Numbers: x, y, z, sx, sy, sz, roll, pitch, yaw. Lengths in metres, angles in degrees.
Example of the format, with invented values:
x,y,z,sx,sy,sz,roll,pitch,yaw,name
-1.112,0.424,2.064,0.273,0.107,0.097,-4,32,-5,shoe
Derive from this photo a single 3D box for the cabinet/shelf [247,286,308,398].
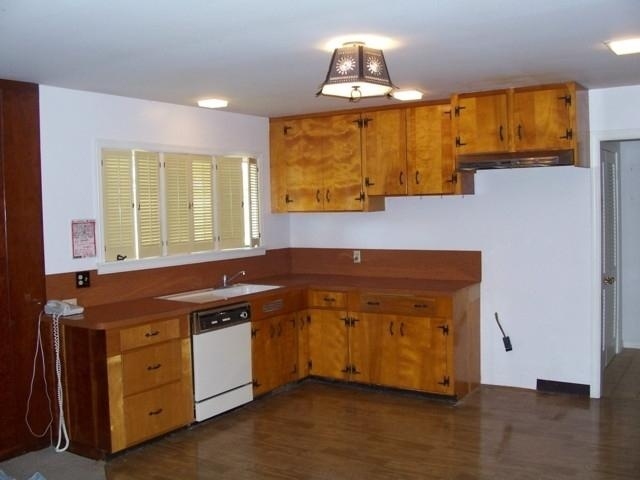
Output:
x,y,z,sx,sy,sz,roll,pitch,yaw,name
-0.675,1.004,5.405,0.700,0.931,0.746,-2,0,28,cabinet/shelf

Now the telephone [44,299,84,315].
x,y,z,sx,sy,sz,roll,pitch,yaw,name
-2.061,0.539,4.245,0.163,0.056,0.169,3,3,23,telephone

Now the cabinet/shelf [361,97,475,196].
x,y,z,sx,sy,sz,roll,pitch,yaw,name
0.996,-0.930,5.586,1.065,0.932,0.366,2,7,34,cabinet/shelf

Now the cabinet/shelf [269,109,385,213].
x,y,z,sx,sy,sz,roll,pitch,yaw,name
0.059,-0.866,6.094,1.249,1.058,0.452,2,7,29,cabinet/shelf

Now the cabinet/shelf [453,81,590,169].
x,y,z,sx,sy,sz,roll,pitch,yaw,name
1.865,-1.061,4.983,1.134,0.701,0.539,4,15,38,cabinet/shelf

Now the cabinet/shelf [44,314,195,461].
x,y,z,sx,sy,sz,roll,pitch,yaw,name
-1.594,1.036,4.651,0.996,1.475,1.099,0,2,29,cabinet/shelf

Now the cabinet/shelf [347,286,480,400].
x,y,z,sx,sy,sz,roll,pitch,yaw,name
0.851,1.002,5.392,1.033,0.956,0.632,1,-5,26,cabinet/shelf

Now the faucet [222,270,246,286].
x,y,z,sx,sy,sz,roll,pitch,yaw,name
-0.860,0.405,5.572,0.340,0.171,0.110,-4,-2,40,faucet

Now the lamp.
x,y,z,sx,sy,sz,roll,pitch,yaw,name
0.220,-0.964,3.288,0.430,0.366,0.432,4,4,36,lamp
